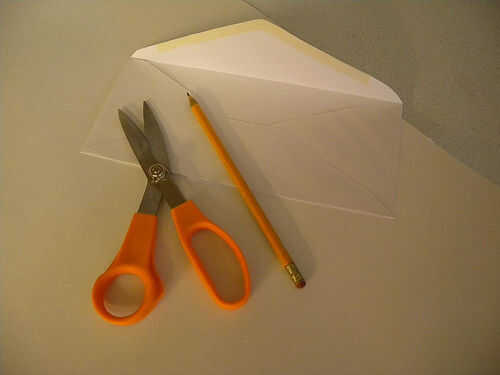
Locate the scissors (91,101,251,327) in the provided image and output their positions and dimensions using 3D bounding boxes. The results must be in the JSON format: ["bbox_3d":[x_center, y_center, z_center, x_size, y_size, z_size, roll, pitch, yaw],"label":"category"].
[{"bbox_3d":[-0.182,0.034,0.906,0.288,0.321,0.353,-15,30,-1],"label":"scissors"}]
